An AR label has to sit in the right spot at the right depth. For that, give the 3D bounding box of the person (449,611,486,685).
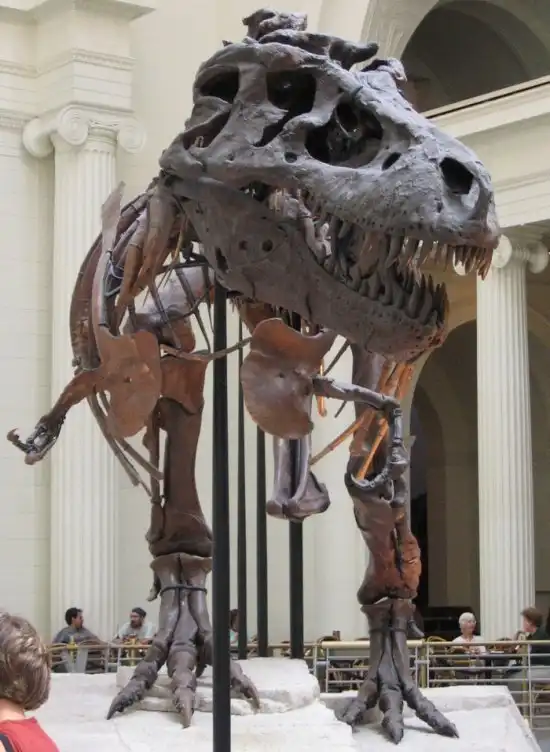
[{"bbox_3d":[1.595,2.422,10.229,0.267,0.705,0.351,4,-6,23],"label":"person"}]
